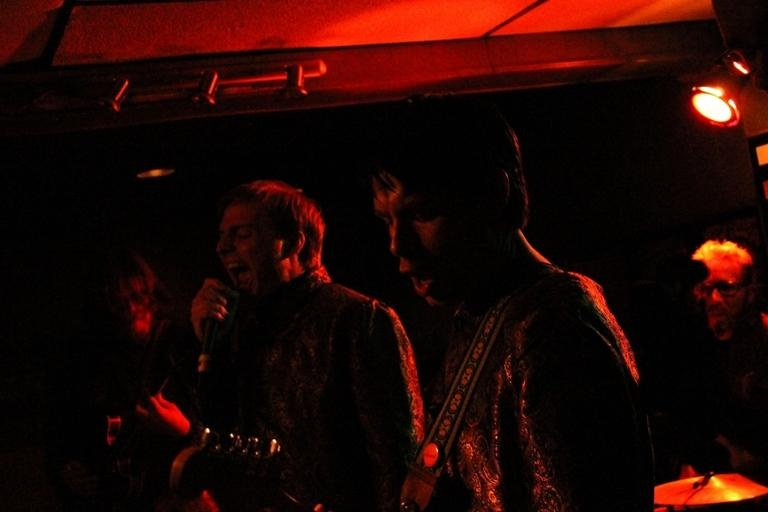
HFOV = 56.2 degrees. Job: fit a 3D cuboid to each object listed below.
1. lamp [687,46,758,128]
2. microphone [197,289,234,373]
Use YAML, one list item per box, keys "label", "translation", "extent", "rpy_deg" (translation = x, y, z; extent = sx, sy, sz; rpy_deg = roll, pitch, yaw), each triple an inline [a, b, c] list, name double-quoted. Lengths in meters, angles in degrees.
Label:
- label: "lamp"
  translation: [1.891, -0.892, 3.905]
  extent: [0.313, 0.335, 0.344]
  rpy_deg: [13, -25, -40]
- label: "microphone"
  translation: [-0.865, 0.402, 3.724]
  extent: [0.179, 0.351, 0.073]
  rpy_deg: [5, -18, 16]
